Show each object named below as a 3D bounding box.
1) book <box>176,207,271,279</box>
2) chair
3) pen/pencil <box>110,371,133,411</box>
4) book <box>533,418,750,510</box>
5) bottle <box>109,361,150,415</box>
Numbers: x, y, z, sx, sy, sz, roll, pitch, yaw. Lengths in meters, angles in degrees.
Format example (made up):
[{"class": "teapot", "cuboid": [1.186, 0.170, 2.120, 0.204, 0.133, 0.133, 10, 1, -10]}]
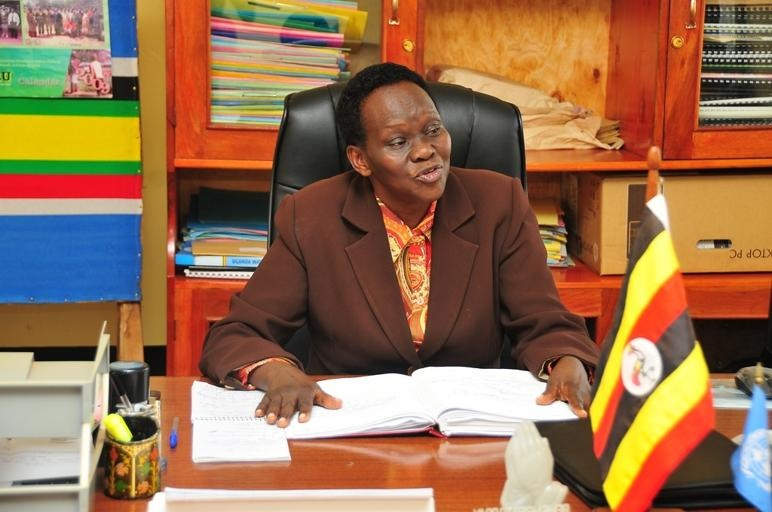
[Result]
[{"class": "book", "cuboid": [-0.596, -0.024, 2.505, 0.306, 0.100, 0.306, 0, 22, 0]}, {"class": "chair", "cuboid": [0.006, -0.134, 2.104, 0.678, 0.916, 0.787, -1, 3, -3]}, {"class": "pen/pencil", "cuboid": [-0.461, 0.233, 1.177, 0.012, 0.074, 0.011, -24, 0, 24]}, {"class": "book", "cuboid": [0.363, 0.300, 0.949, 0.194, 0.039, 0.191, -3, 5, -17]}, {"class": "bottle", "cuboid": [-0.451, 0.232, 1.185, 0.060, 0.094, 0.094, 2, 6, 14]}]
